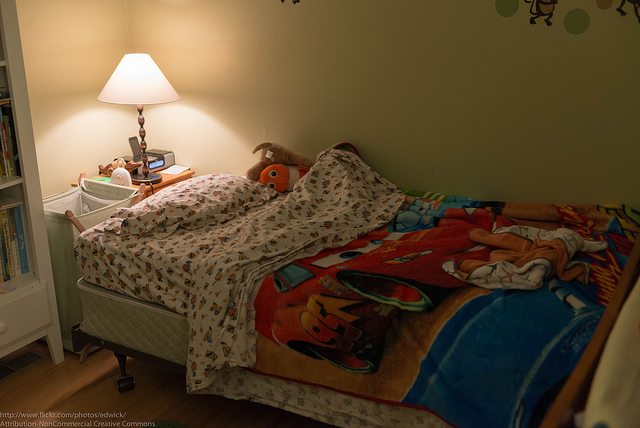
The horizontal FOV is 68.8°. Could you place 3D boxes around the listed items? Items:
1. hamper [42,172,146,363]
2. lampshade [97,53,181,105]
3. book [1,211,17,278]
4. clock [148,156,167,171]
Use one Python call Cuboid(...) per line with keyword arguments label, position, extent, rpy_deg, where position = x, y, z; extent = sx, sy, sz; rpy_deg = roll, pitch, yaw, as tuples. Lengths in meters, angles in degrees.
Cuboid(label="hamper", position=(-1.206, 0.352, 3.205), extent=(0.902, 1.115, 0.807), rpy_deg=(3, 19, -7))
Cuboid(label="lampshade", position=(-1.355, -1.045, 3.540), extent=(0.663, 0.349, 0.652), rpy_deg=(-4, 19, -10))
Cuboid(label="book", position=(-1.810, 0.174, 2.726), extent=(0.050, 0.403, 0.018), rpy_deg=(-12, 21, -35))
Cuboid(label="clock", position=(-1.258, -0.400, 3.639), extent=(0.094, 0.058, 0.131), rpy_deg=(8, 21, 19))
